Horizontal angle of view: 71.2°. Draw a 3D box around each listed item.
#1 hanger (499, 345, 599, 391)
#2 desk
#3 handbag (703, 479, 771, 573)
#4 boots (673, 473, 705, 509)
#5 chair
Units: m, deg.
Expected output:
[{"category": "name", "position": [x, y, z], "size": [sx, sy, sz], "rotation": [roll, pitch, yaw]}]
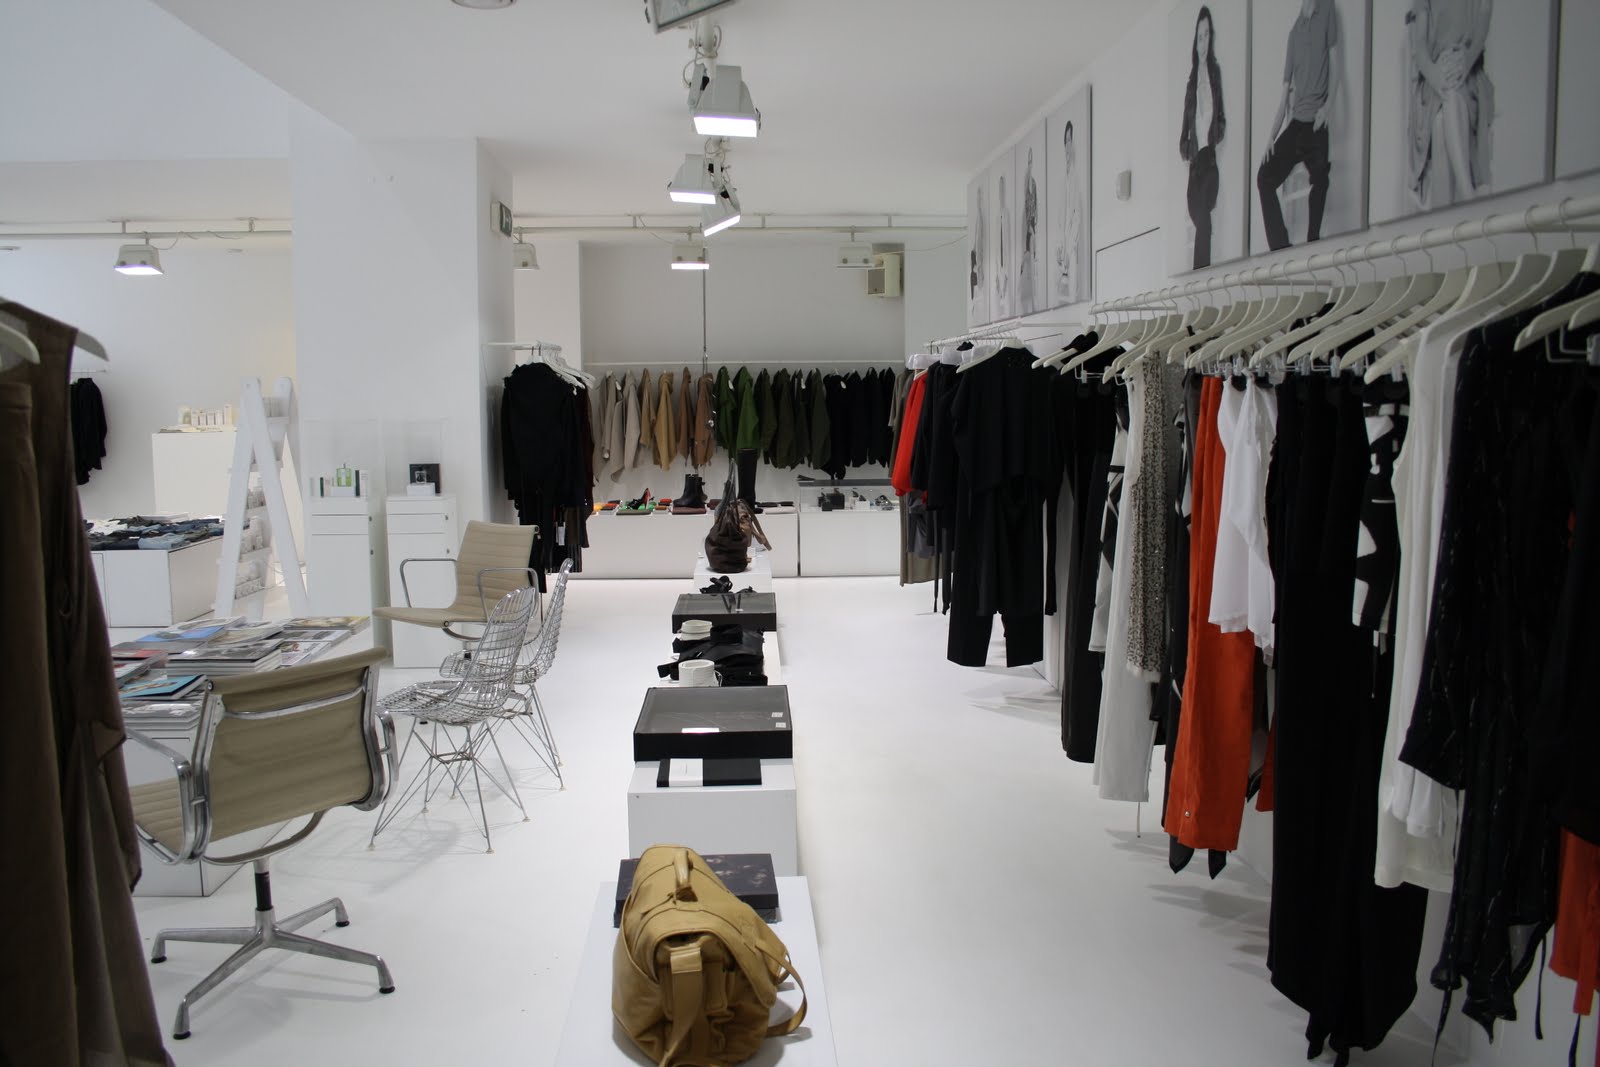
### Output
[{"category": "hanger", "position": [-1.728, -1.232, 8.138], "size": [0.486, 0.233, 0.676], "rotation": [1, 1, 10]}, {"category": "desk", "position": [-4.365, 0.330, 7.565], "size": [0.409, 0.556, 0.816], "rotation": [0, 3, -3]}, {"category": "handbag", "position": [-0.480, -0.012, 8.779], "size": [0.564, 0.964, 0.712], "rotation": [0, -2, -12]}, {"category": "boots", "position": [-1.039, -0.402, 10.549], "size": [0.282, 0.302, 0.393], "rotation": [-1, 12, -5]}, {"category": "chair", "position": [-1.721, 0.782, 4.694], "size": [1.211, 2.152, 1.507], "rotation": [-4, 9, -39]}]
